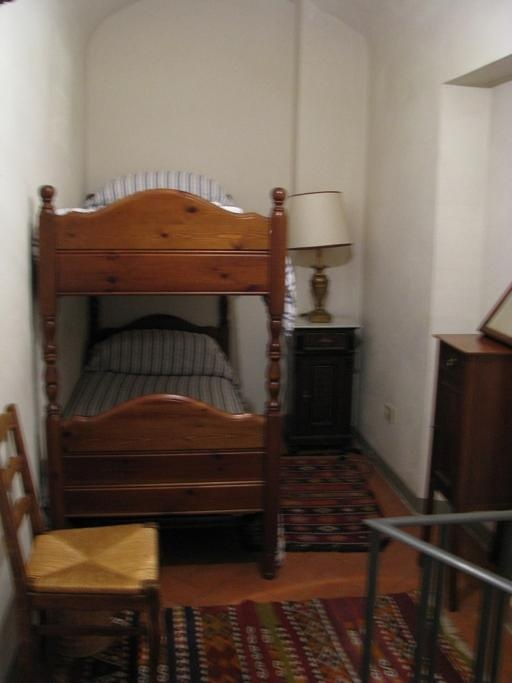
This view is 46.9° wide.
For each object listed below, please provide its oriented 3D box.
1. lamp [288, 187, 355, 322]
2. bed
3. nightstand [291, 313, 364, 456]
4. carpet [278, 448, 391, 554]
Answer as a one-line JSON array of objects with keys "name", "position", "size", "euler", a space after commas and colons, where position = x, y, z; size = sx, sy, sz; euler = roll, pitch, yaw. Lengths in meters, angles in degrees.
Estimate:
[{"name": "lamp", "position": [0.380, -0.503, 3.606], "size": [0.375, 0.780, 0.408], "euler": [1, 7, 3]}, {"name": "bed", "position": [-0.446, 0.021, 2.730], "size": [0.937, 1.446, 1.543], "euler": [0, 12, -7]}, {"name": "nightstand", "position": [0.363, 0.272, 3.765], "size": [0.532, 0.782, 0.541], "euler": [1, 1, 4]}, {"name": "carpet", "position": [0.319, 0.776, 2.946], "size": [0.398, 0.014, 0.860], "euler": [-16, 22, 2]}]
